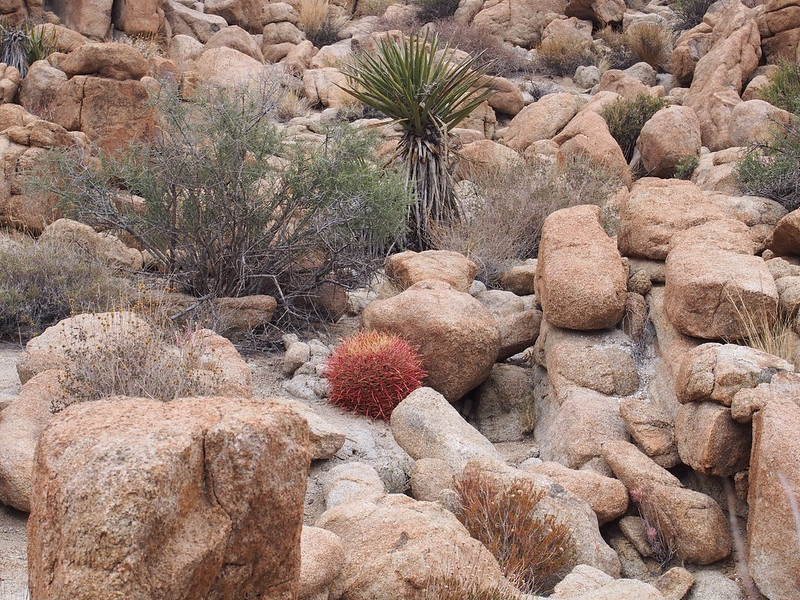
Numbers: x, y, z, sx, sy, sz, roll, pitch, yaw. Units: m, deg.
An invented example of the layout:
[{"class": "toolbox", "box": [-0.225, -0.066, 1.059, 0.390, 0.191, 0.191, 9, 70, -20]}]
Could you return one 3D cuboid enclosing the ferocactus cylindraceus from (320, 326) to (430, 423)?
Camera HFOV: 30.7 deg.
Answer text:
[{"class": "ferocactus cylindraceus", "box": [-0.387, 0.914, 18.301, 0.926, 1.127, 1.087, -1, 9, 17]}]
